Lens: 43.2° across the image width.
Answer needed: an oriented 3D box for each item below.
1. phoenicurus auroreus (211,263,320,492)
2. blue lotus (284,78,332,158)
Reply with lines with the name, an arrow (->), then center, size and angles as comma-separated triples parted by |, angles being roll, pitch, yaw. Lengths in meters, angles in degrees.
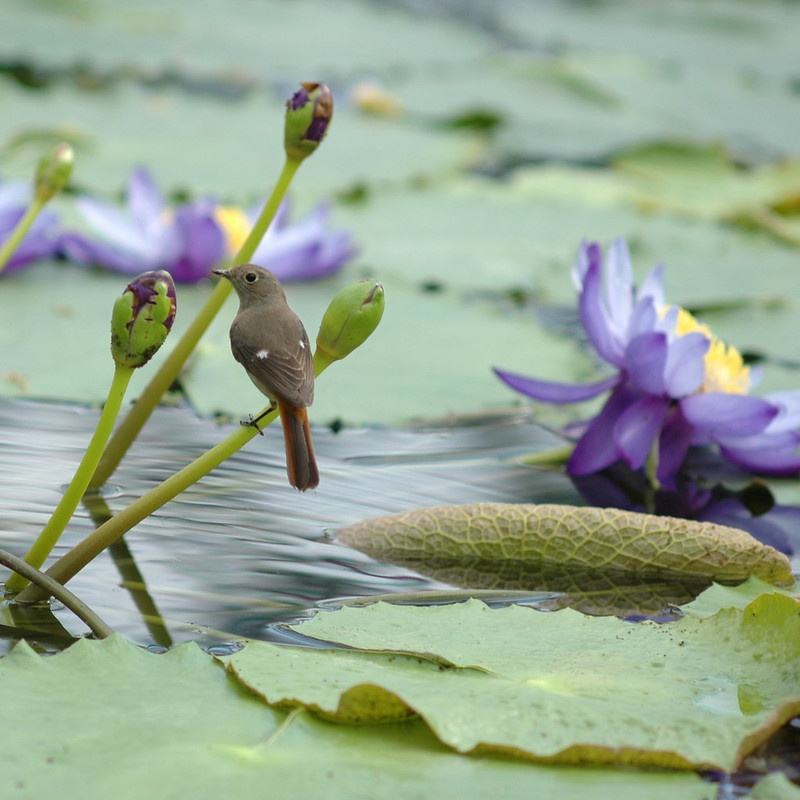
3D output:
phoenicurus auroreus -> -0.181, -0.053, 1.534 | 0.134, 0.168, 0.381 | -10, 51, -12
blue lotus -> -0.134, -0.391, 1.427 | 0.065, 0.110, 0.048 | 6, 28, -2
